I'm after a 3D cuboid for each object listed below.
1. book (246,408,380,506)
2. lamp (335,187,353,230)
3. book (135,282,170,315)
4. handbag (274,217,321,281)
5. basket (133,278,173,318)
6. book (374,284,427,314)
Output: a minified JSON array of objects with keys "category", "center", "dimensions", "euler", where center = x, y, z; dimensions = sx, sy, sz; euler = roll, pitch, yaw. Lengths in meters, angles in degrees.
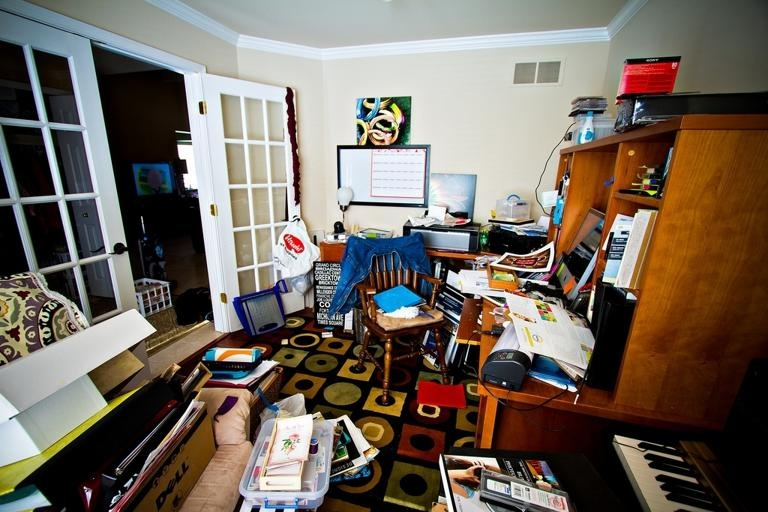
[{"category":"book","center":[-0.402,1.051,2.320],"dimensions":[0.565,0.138,0.550],"euler":[0,16,0]},{"category":"lamp","center":[-0.372,-0.475,4.359],"dimensions":[0.158,0.377,0.214],"euler":[-3,16,-5]},{"category":"book","center":[-2.154,0.402,4.200],"dimensions":[0.235,0.138,0.238],"euler":[13,21,35]},{"category":"handbag","center":[-0.784,-0.063,4.112],"dimensions":[0.433,0.477,0.183],"euler":[-1,-5,22]},{"category":"basket","center":[-2.141,0.395,4.184],"dimensions":[0.298,0.177,0.302],"euler":[12,22,35]},{"category":"book","center":[0.093,0.319,3.359],"dimensions":[0.225,0.052,0.222],"euler":[-15,31,-24]}]
